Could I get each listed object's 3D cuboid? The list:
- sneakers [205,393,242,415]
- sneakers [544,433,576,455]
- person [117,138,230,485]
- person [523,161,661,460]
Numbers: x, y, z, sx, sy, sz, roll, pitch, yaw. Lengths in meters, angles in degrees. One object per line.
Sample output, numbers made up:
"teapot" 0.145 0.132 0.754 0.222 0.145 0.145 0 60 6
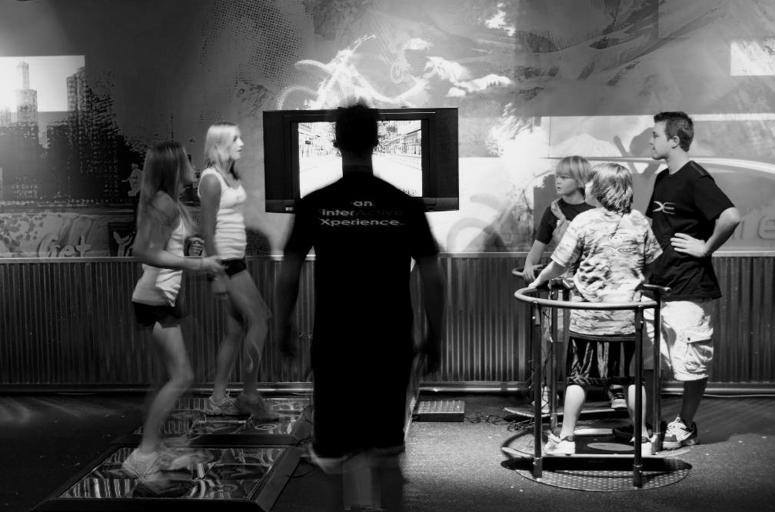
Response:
"sneakers" -1.406 1.274 5.765 0.377 0.156 0.136 0 1 -8
"sneakers" 1.216 1.348 4.811 0.114 0.111 0.262 1 -2 0
"person" -1.554 0.367 4.640 0.580 2.309 0.478 0 4 -9
"person" 1.493 0.389 4.779 0.874 2.108 0.439 1 4 11
